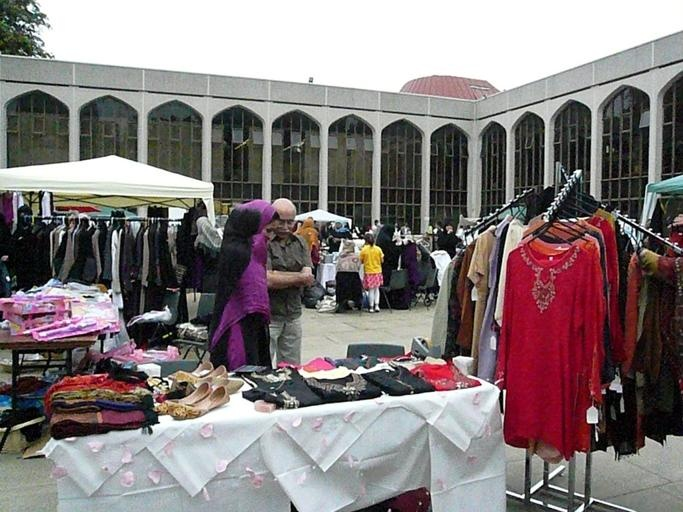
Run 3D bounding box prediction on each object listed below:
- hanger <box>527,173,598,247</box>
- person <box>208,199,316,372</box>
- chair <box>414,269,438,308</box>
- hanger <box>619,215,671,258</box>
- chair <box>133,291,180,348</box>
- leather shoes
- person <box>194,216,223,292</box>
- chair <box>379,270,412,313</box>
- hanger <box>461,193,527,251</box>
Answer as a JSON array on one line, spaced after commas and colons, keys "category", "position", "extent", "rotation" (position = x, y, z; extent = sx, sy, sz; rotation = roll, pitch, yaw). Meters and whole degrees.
[{"category": "hanger", "position": [1.708, -0.419, 4.891], "extent": [0.297, 0.500, 0.833], "rotation": [8, 12, 30]}, {"category": "person", "position": [-0.675, 0.311, 5.459], "extent": [0.526, 1.609, 1.180], "rotation": [6, 11, 25]}, {"category": "chair", "position": [2.106, 0.710, 14.679], "extent": [0.455, 0.985, 1.030], "rotation": [4, 11, 12]}, {"category": "hanger", "position": [2.348, -0.181, 4.680], "extent": [0.235, 0.235, 0.437], "rotation": [-2, 12, -21]}, {"category": "chair", "position": [-2.586, 0.871, 8.562], "extent": [0.537, 0.808, 0.532], "rotation": [1, 10, -22]}, {"category": "leather shoes", "position": [-0.935, 0.887, 4.062], "extent": [0.274, 0.124, 0.363], "rotation": [9, 9, 43]}, {"category": "person", "position": [-1.966, -0.016, 8.918], "extent": [0.371, 1.275, 1.009], "rotation": [1, 4, 4]}, {"category": "chair", "position": [1.292, 0.739, 13.801], "extent": [0.646, 1.226, 0.820], "rotation": [-1, 5, -19]}, {"category": "hanger", "position": [1.376, -0.355, 5.437], "extent": [0.578, 0.504, 0.750], "rotation": [0, 11, -8]}]
